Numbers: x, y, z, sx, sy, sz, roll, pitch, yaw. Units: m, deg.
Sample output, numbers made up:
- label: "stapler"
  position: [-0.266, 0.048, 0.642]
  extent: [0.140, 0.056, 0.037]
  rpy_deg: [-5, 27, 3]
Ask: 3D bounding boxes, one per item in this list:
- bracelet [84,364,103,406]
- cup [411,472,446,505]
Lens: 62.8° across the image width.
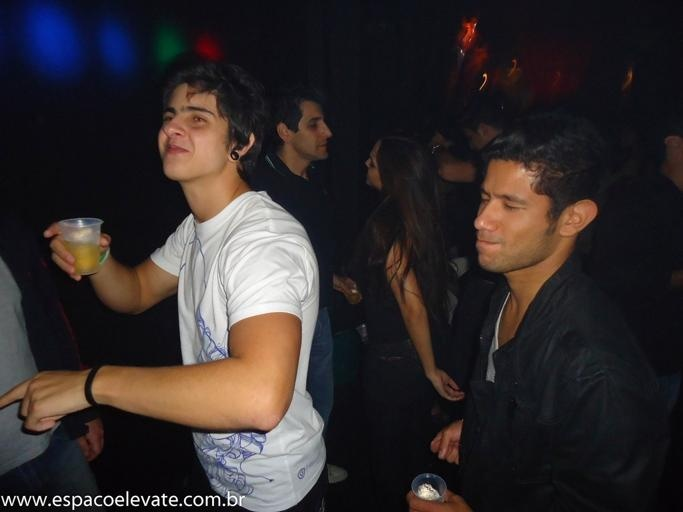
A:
- label: "bracelet"
  position: [-1.078, 0.556, 2.423]
  extent: [0.068, 0.147, 0.129]
  rpy_deg: [-2, 28, -10]
- label: "cup"
  position: [0.456, 1.177, 2.860]
  extent: [0.126, 0.093, 0.118]
  rpy_deg: [-3, 28, 2]
